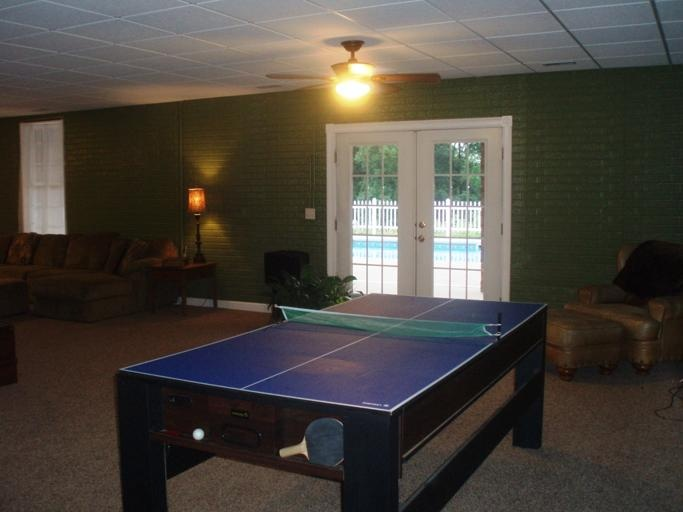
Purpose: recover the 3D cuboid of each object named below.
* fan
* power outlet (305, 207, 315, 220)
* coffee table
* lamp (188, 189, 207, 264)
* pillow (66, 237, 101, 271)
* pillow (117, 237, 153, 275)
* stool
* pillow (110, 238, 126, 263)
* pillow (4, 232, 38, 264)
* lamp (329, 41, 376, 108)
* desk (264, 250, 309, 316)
[{"bbox_3d":[0.137,-1.963,5.553,0.935,0.282,0.882,1,2,17],"label":"fan"},{"bbox_3d":[-0.449,-0.591,7.658,0.150,0.190,0.072,0,11,9],"label":"power outlet"},{"bbox_3d":[-2.389,0.317,8.170,0.778,0.751,0.992,2,5,22],"label":"coffee table"},{"bbox_3d":[-2.203,-0.487,8.312,0.278,1.119,0.466,-5,11,-13],"label":"lamp"},{"bbox_3d":[-4.085,-0.046,8.460,0.598,0.519,0.231,0,-18,26],"label":"pillow"},{"bbox_3d":[-3.031,0.033,7.998,0.160,0.486,0.471,30,-9,-29],"label":"pillow"},{"bbox_3d":[2.287,0.909,5.430,0.744,0.450,0.690,1,0,-24],"label":"stool"},{"bbox_3d":[-3.370,-0.080,8.272,0.310,0.290,0.133,1,-25,38],"label":"pillow"},{"bbox_3d":[-5.266,-0.087,9.109,0.600,0.504,0.169,-2,-23,26],"label":"pillow"},{"bbox_3d":[0.100,-1.680,4.789,0.351,0.379,0.327,-13,23,-28],"label":"lamp"},{"bbox_3d":[-0.831,0.311,7.793,0.700,0.851,0.510,0,0,9],"label":"desk"}]
